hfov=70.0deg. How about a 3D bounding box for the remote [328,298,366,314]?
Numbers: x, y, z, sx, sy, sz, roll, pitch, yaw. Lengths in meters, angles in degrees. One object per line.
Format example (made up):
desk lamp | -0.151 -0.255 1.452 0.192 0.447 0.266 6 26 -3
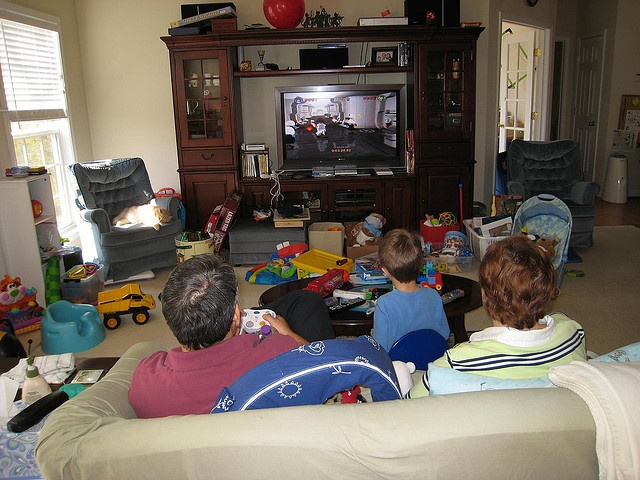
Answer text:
remote | 0.145 0.384 2.694 0.156 0.036 0.084 -15 19 -23

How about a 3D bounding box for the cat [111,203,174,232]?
cat | -1.832 -0.235 4.674 0.439 0.200 0.289 -1 19 -11

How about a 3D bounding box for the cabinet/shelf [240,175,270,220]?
cabinet/shelf | -0.743 -0.481 5.208 0.476 0.624 0.325 0 11 -2

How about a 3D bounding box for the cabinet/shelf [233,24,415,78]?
cabinet/shelf | 0.024 -2.097 5.170 2.168 0.492 0.399 8 28 23

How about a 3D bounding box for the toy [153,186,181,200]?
toy | -1.812 -0.542 5.352 0.318 0.203 0.193 1 18 -5

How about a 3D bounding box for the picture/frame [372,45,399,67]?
picture/frame | 0.725 -2.044 5.123 0.293 0.213 0.029 0 12 -3

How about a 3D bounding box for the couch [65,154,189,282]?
couch | -2.043 -0.252 4.724 0.840 1.092 0.891 17 23 41

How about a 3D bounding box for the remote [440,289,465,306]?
remote | 0.797 0.336 2.753 0.209 0.051 0.066 -19 36 -30

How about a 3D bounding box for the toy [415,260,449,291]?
toy | 0.700 0.223 2.943 0.163 0.174 0.111 0 8 -6

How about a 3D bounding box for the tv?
tv | 0.267 -1.339 5.429 1.299 0.874 0.055 -1 27 -2

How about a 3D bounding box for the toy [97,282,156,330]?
toy | -1.546 0.505 3.759 0.460 0.305 0.301 -3 24 -15

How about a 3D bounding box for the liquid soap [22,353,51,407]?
liquid soap | -1.102 0.547 1.760 0.118 0.175 0.062 -6 8 0

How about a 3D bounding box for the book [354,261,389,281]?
book | 0.349 0.214 3.094 0.132 0.031 0.127 -5 18 -20

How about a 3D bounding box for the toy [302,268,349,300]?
toy | 0.042 0.276 3.022 0.107 0.111 0.364 11 19 34

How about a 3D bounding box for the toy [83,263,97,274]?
toy | -2.009 0.243 3.975 0.087 0.035 0.088 -10 39 -36

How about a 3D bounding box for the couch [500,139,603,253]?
couch | 2.640 -0.542 5.312 1.034 1.127 1.041 -6 16 -12

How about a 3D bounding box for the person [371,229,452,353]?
person | 0.445 0.374 2.309 0.402 0.872 0.282 -8 21 -6

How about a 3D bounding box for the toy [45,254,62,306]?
toy | -2.312 0.387 3.952 0.126 0.437 0.101 2 0 -33

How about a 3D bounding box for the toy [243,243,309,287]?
toy | -0.387 0.261 4.462 0.467 0.152 0.414 -16 23 -33

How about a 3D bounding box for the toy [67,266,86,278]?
toy | -2.098 0.279 3.919 0.123 0.035 0.093 -10 40 -4

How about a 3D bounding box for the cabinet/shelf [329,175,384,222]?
cabinet/shelf | 0.412 -0.498 5.210 0.525 0.484 0.186 -1 11 2

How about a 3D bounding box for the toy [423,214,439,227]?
toy | 1.222 -0.237 5.023 0.158 0.152 0.150 -3 21 -18

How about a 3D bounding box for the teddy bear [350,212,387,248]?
teddy bear | 0.508 -0.095 4.833 0.264 0.411 0.135 31 8 -5

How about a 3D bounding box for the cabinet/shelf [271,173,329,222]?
cabinet/shelf | -0.236 -0.478 5.162 0.569 0.529 0.237 -1 14 -1

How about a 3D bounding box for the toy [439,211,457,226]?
toy | 1.391 -0.223 4.989 0.167 0.139 0.132 0 7 7

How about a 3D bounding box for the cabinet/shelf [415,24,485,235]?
cabinet/shelf | 1.474 -1.189 5.521 0.762 2.674 0.574 -3 32 9

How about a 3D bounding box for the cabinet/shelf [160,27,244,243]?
cabinet/shelf | -1.395 -1.125 5.478 0.760 2.602 0.604 -6 35 -16
